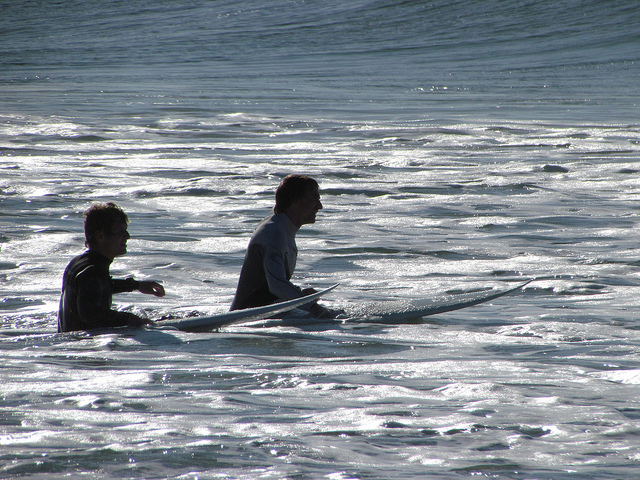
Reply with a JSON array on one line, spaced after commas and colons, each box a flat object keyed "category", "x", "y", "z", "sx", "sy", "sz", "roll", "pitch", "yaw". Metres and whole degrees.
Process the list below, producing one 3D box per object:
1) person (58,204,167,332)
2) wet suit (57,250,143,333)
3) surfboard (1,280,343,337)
[{"category": "person", "x": -1.880, "y": 0.250, "z": 10.921, "sx": 0.657, "sy": 1.157, "sz": 0.501, "roll": -9, "pitch": 17, "yaw": -33}, {"category": "wet suit", "x": -1.959, "y": 0.492, "z": 11.257, "sx": 0.779, "sy": 0.487, "sz": 1.001, "roll": 1, "pitch": 4, "yaw": -18}, {"category": "surfboard", "x": -1.347, "y": 0.652, "z": 11.466, "sx": 5.528, "sy": 0.250, "sz": 0.441, "roll": -2, "pitch": 10, "yaw": -9}]
